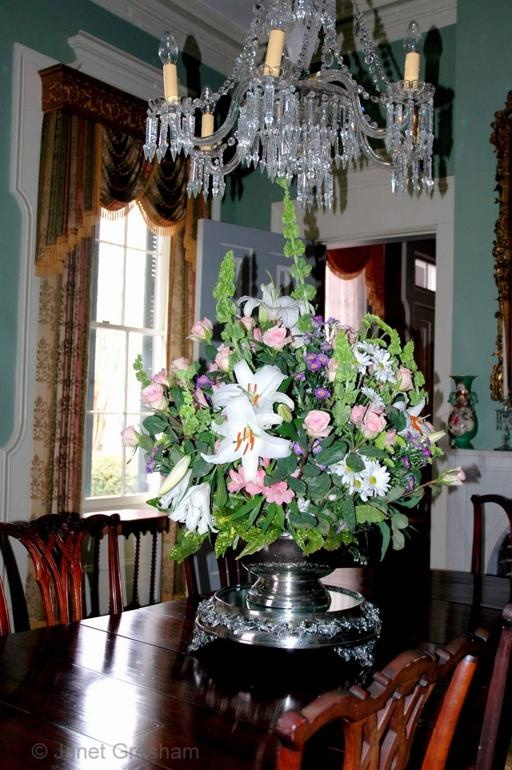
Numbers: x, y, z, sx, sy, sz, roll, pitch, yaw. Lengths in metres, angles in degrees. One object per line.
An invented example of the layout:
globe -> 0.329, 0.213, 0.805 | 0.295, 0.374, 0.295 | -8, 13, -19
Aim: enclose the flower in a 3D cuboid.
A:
flower -> 0.021, 0.034, 1.547 | 0.698, 0.844, 0.739 | -13, 33, -13
